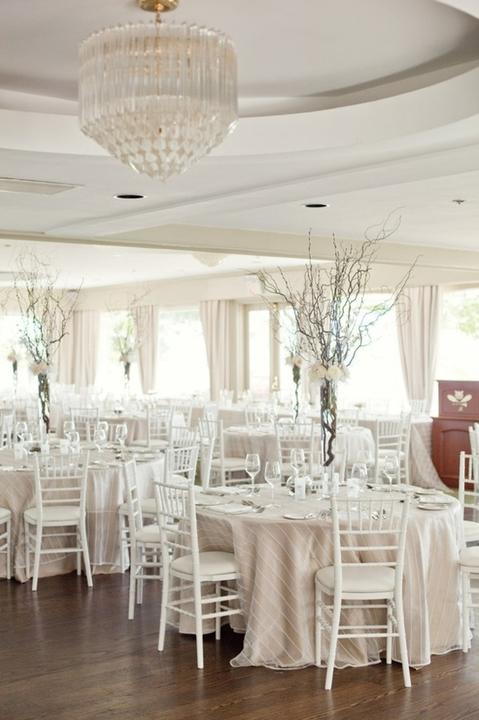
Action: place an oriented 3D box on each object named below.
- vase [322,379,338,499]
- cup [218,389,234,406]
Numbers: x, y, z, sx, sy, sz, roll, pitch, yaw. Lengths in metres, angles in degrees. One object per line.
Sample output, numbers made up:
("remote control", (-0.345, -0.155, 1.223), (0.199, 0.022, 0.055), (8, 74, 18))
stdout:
("vase", (0.627, 0.453, 3.996), (0.099, 0.755, 0.102), (-2, 31, 6))
("cup", (-0.256, 0.733, 10.837), (0.309, 0.374, 0.314), (0, 3, 0))
